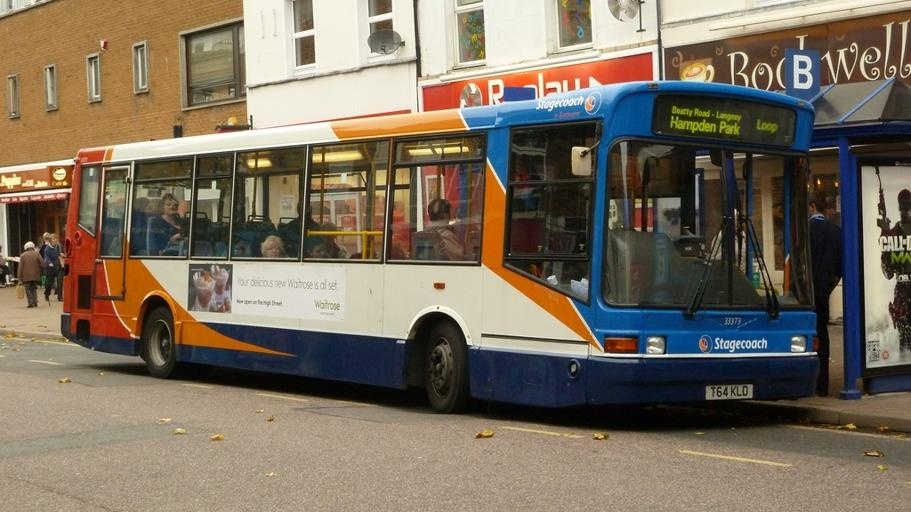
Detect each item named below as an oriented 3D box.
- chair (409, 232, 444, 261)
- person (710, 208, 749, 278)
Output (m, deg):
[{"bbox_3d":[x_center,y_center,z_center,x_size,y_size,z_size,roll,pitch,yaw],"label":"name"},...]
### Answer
[{"bbox_3d":[-0.445,-0.140,15.516,0.427,0.590,0.593,1,-1,-44],"label":"chair"},{"bbox_3d":[4.209,-0.238,14.352,0.554,0.938,0.227,1,2,-16],"label":"person"}]
